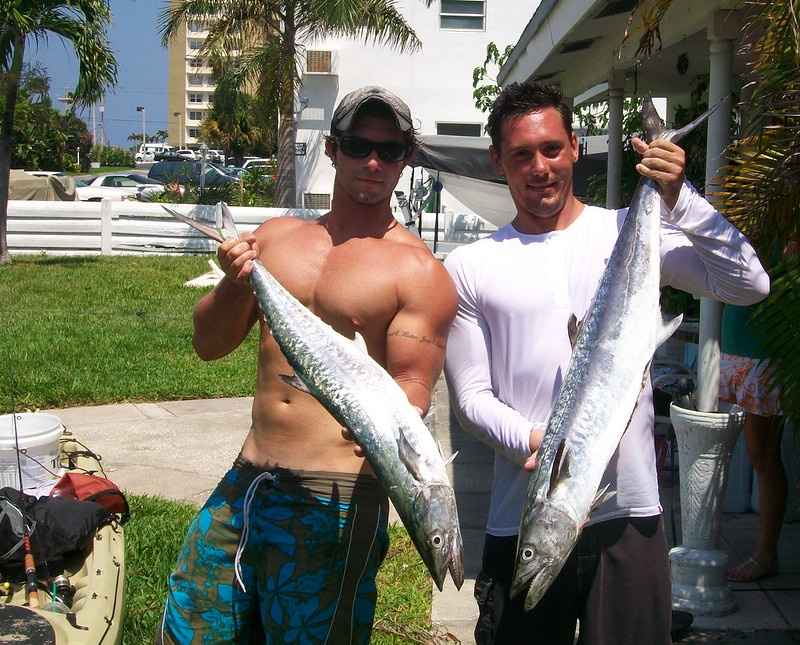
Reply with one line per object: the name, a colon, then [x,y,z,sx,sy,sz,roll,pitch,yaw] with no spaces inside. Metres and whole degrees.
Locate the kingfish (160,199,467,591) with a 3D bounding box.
kingfish: [-0.182,0.263,3.069,0.359,1.702,0.355,-25,28,26]

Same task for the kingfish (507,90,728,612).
kingfish: [0.734,0.202,3.058,0.273,1.503,0.787,6,5,39]

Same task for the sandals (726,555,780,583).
sandals: [2.082,1.434,5.012,0.259,0.111,0.144,-2,0,-2]

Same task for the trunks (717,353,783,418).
trunks: [2.156,0.344,5.286,0.271,0.332,0.487,-5,12,-24]

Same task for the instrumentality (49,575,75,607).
instrumentality: [-1.601,1.268,4.033,0.061,0.077,0.211,29,17,-41]
